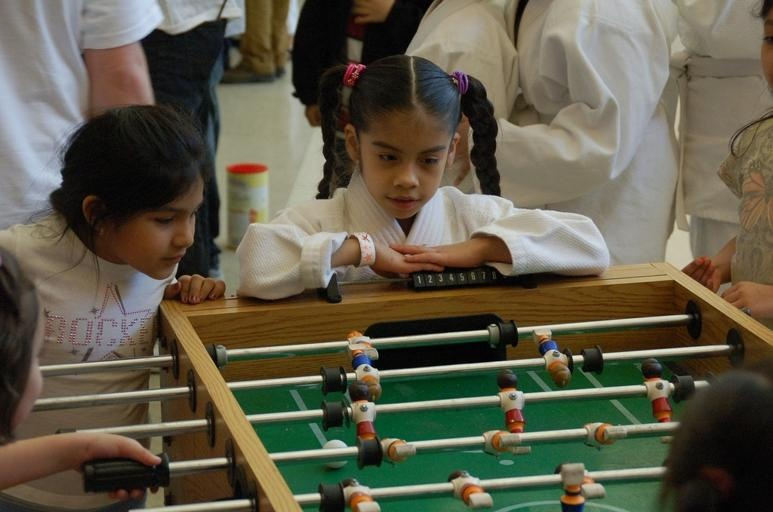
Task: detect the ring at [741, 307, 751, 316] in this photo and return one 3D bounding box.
[{"bbox_3d":[0.833,0.128,1.765,0.016,0.013,0.021,-10,9,-8],"label":"ring"}]

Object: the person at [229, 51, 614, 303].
[{"bbox_3d":[0.072,-0.189,2.021,0.892,0.614,0.491,1,9,-4],"label":"person"}]
